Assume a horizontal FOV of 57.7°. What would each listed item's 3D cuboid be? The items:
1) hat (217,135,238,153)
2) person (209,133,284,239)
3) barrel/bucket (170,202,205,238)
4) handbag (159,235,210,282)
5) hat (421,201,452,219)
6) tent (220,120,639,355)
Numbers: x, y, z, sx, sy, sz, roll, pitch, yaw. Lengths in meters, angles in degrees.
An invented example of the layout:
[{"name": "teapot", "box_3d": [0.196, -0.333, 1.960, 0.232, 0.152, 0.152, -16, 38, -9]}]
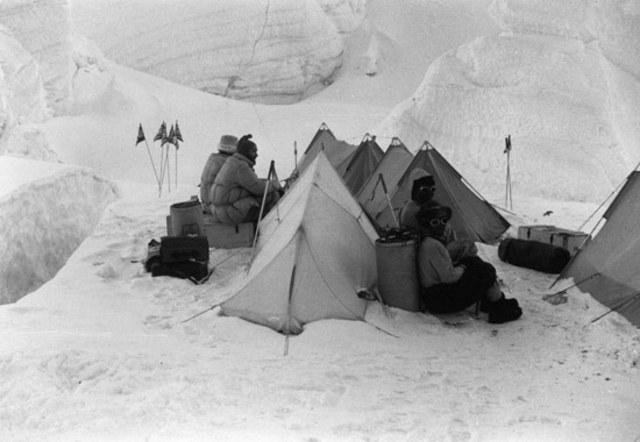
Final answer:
[{"name": "hat", "box_3d": [-1.481, -1.245, 9.371, 0.252, 0.182, 0.351, 9, 12, 1]}, {"name": "person", "box_3d": [-1.040, -0.666, 8.771, 1.265, 1.557, 1.191, -11, 26, -31]}, {"name": "barrel/bucket", "box_3d": [-1.815, -0.030, 8.147, 0.459, 0.510, 0.469, -2, 6, 0]}, {"name": "handbag", "box_3d": [-1.724, 0.468, 7.453, 0.583, 0.519, 0.567, 0, 1, -6]}, {"name": "hat", "box_3d": [1.311, -0.106, 6.590, 0.363, 0.173, 0.185, 3, 36, 6]}, {"name": "tent", "box_3d": [1.680, 0.195, 8.065, 3.094, 1.391, 3.060, -4, 14, -2]}]
